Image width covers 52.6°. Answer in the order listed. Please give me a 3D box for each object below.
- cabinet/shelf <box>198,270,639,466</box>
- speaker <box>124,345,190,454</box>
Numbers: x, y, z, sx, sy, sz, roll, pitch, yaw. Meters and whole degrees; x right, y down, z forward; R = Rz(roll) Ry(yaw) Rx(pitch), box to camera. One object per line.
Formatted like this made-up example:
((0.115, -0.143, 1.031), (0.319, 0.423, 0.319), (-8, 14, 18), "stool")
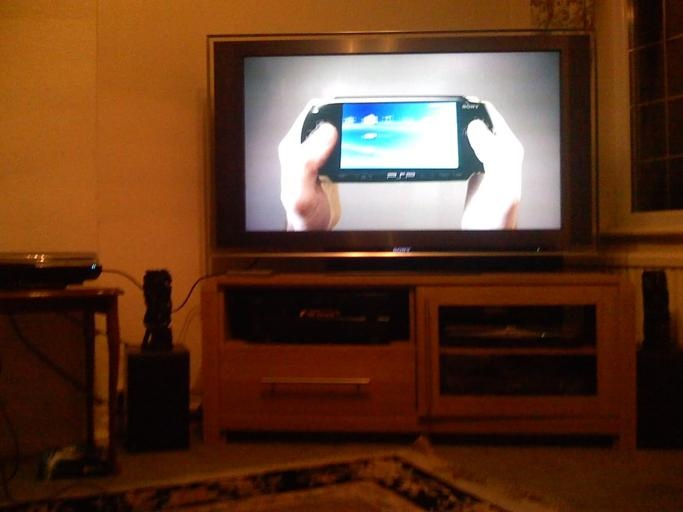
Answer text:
((0.335, 0.360, 3.012), (1.726, 0.736, 0.530), (-1, 14, 4), "cabinet/shelf")
((-0.801, 0.653, 2.895), (0.301, 0.427, 0.309), (3, -29, -20), "speaker")
